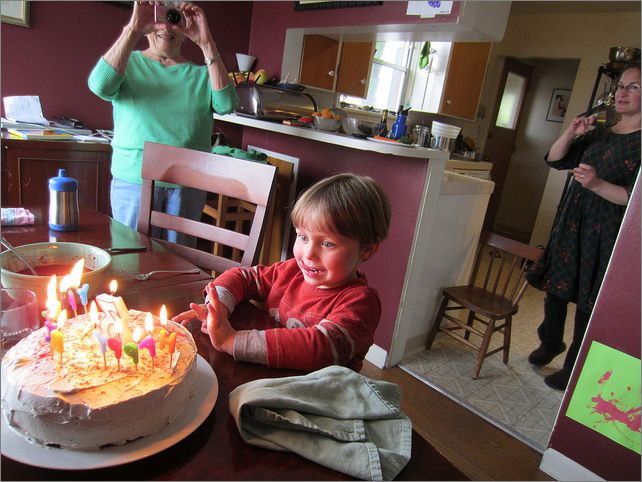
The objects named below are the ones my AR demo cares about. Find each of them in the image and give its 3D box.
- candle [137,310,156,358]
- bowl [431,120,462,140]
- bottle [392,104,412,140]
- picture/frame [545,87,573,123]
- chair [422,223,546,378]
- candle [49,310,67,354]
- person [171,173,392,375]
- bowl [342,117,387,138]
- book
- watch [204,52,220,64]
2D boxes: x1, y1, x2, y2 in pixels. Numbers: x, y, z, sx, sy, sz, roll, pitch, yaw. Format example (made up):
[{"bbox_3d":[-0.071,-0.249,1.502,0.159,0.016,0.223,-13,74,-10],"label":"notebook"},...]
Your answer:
[{"bbox_3d":[-0.350,0.194,0.897,0.034,0.086,0.019,-3,12,-22],"label":"candle"},{"bbox_3d":[0.755,-0.671,2.704,0.155,0.088,0.230,9,16,10],"label":"bowl"},{"bbox_3d":[0.490,-0.723,2.739,0.086,0.193,0.379,8,16,8],"label":"bottle"},{"bbox_3d":[3.064,-1.734,5.701,0.008,0.388,0.282,-3,19,-28],"label":"picture/frame"},{"bbox_3d":[1.017,0.409,2.816,0.506,1.075,0.599,-8,23,-39],"label":"chair"},{"bbox_3d":[-0.497,0.174,0.850,0.022,0.087,0.021,11,17,5],"label":"candle"},{"bbox_3d":[-0.184,0.060,1.325,0.563,0.753,0.490,0,17,-29],"label":"person"},{"bbox_3d":[0.249,-0.690,2.725,0.243,0.098,0.359,10,16,12],"label":"bowl"},{"bbox_3d":[-1.728,-0.772,2.653,0.403,0.142,0.288,27,30,34],"label":"book"},{"bbox_3d":[-0.498,-0.835,2.053,0.061,0.056,0.089,2,16,-15],"label":"watch"}]
